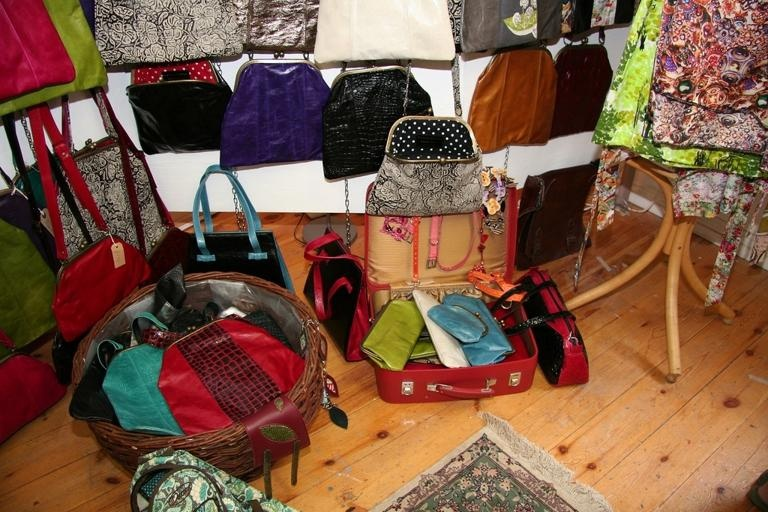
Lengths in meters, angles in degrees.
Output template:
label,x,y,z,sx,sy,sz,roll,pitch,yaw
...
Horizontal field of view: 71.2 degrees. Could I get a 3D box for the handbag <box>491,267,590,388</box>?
label,x,y,z,sx,sy,sz,roll,pitch,yaw
handbag,0.770,0.405,2.456,0.404,0.289,0.657,-18,48,16

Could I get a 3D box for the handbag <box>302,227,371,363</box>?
label,x,y,z,sx,sy,sz,roll,pitch,yaw
handbag,-0.216,0.196,2.402,0.212,0.389,0.478,-13,48,-22

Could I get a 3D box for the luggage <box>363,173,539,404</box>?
label,x,y,z,sx,sy,sz,roll,pitch,yaw
luggage,0.206,0.270,2.524,0.898,0.799,0.880,-5,46,-2

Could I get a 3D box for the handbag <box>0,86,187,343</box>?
label,x,y,z,sx,sy,sz,roll,pitch,yaw
handbag,-1.275,-0.161,2.299,0.439,0.974,0.655,27,51,18

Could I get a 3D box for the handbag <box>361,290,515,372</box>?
label,x,y,z,sx,sy,sz,roll,pitch,yaw
handbag,0.213,0.323,2.249,0.389,0.117,0.383,-2,29,-1

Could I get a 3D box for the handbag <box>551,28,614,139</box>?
label,x,y,z,sx,sy,sz,roll,pitch,yaw
handbag,1.031,-0.872,2.838,0.364,0.476,0.136,-18,36,-20

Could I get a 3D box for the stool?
label,x,y,z,sx,sy,sz,roll,pitch,yaw
stool,1.305,0.077,2.510,0.655,0.872,0.621,-26,46,-24

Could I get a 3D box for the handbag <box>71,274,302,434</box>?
label,x,y,z,sx,sy,sz,roll,pitch,yaw
handbag,-0.743,0.395,1.959,0.582,0.190,0.500,-18,45,-18

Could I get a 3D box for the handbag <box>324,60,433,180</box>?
label,x,y,z,sx,sy,sz,roll,pitch,yaw
handbag,-0.032,-0.621,2.437,0.594,0.486,0.219,-6,43,-5

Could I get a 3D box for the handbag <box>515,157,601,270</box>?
label,x,y,z,sx,sy,sz,roll,pitch,yaw
handbag,0.908,-0.199,2.794,0.487,0.454,0.222,-19,40,-16
